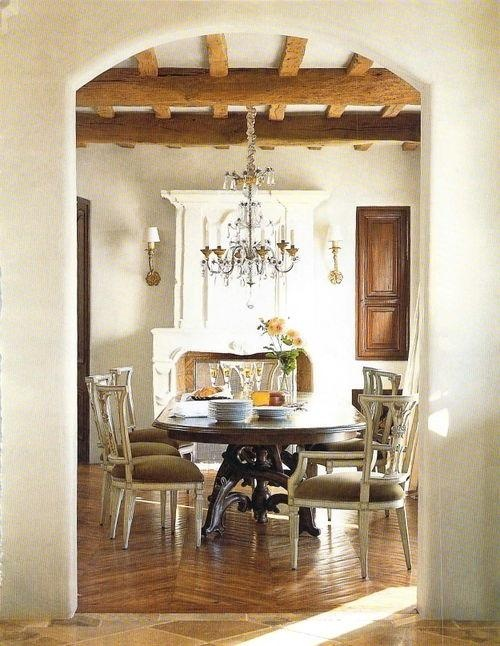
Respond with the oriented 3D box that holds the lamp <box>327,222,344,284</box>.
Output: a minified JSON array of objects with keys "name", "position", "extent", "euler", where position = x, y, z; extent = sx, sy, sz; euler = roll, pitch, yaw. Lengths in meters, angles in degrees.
[{"name":"lamp","position":[0.801,-0.620,6.130],"extent":[0.136,0.531,0.219],"euler":[0,-1,9]}]

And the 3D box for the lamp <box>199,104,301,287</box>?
[{"name":"lamp","position":[-0.021,-0.996,5.252],"extent":[0.829,1.487,1.844],"euler":[0,-1,4]}]

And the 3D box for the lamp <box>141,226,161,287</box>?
[{"name":"lamp","position":[-0.887,-0.609,6.061],"extent":[0.147,0.547,0.283],"euler":[0,-1,-9]}]

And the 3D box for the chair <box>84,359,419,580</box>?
[{"name":"chair","position":[0.280,0.775,3.546],"extent":[1.494,0.963,1.205],"euler":[1,-1,-33]}]
